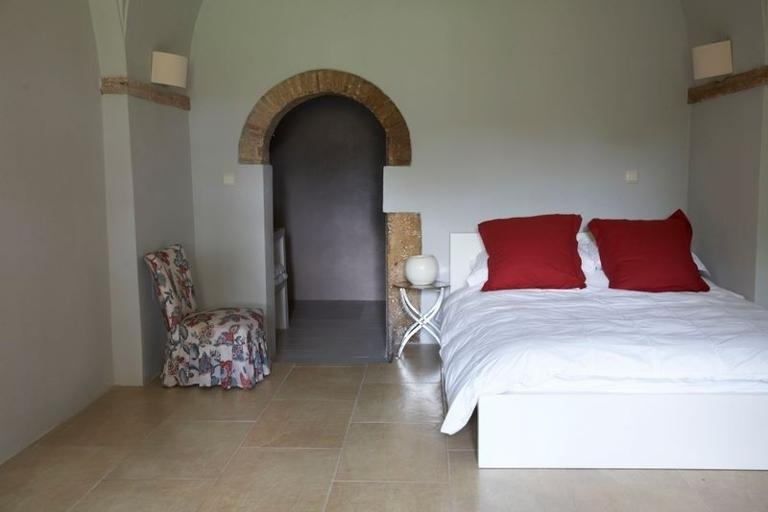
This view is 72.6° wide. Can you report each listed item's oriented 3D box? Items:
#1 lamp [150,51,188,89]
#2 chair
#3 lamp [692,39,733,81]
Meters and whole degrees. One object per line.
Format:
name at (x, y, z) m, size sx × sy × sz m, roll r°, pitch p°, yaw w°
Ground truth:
lamp at (-1.992, -1.702, 4.769) m, size 0.333 × 0.286 × 0.177 m, roll -3°, pitch 18°, yaw -42°
chair at (-1.578, 0.514, 4.735) m, size 1.027 × 1.122 × 0.921 m, roll -1°, pitch 11°, yaw -14°
lamp at (3.048, -1.812, 4.824) m, size 0.161 × 0.314 × 0.311 m, roll -5°, pitch 4°, yaw -20°
